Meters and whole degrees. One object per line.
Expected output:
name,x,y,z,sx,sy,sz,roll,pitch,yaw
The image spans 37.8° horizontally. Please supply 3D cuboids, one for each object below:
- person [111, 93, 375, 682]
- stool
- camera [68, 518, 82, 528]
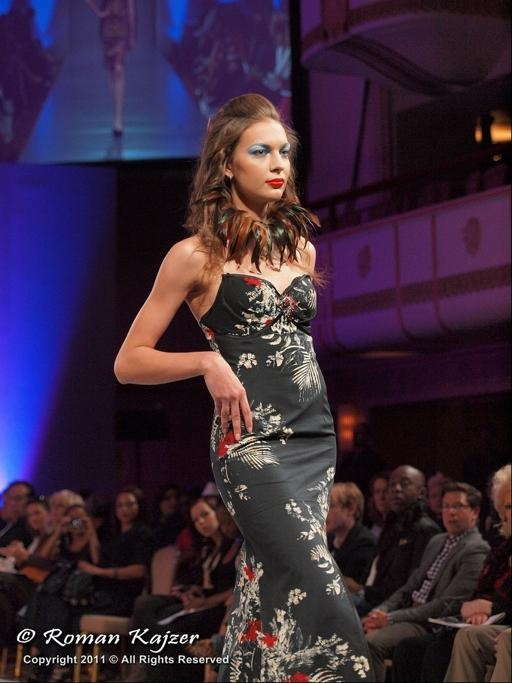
person,-0.048,0.052,1.567,0.478,1.271,0.286,0,-12,-10
stool,-0.642,1.283,3.094,0.219,0.269,0.158,10,-41,-19
camera,-0.762,0.770,3.167,0.060,0.048,0.016,1,1,-14
